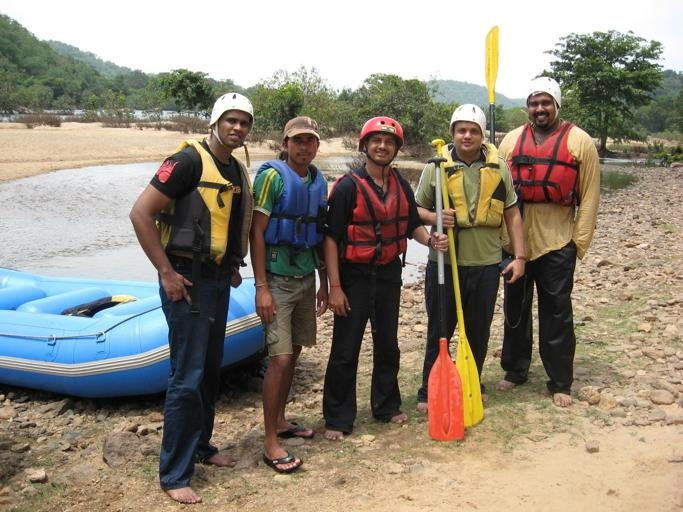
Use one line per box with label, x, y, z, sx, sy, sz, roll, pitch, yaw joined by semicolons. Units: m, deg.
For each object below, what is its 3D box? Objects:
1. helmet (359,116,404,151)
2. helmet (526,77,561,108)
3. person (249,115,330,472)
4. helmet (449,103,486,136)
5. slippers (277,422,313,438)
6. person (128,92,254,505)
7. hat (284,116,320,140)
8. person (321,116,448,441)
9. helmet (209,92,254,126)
helmet;0.329;-1.049;4.926;0.299;0.210;0.332;3;5;-1
helmet;1.852;-1.516;5.349;0.304;0.289;0.575;5;12;18
person;-0.441;0.256;4.734;0.581;2.724;0.963;3;12;8
helmet;1.104;-1.191;5.131;0.247;0.261;0.334;5;9;8
slippers;-0.394;1.486;5.026;0.272;0.085;0.123;0;1;-4
person;-1.098;0.260;4.416;0.517;2.943;0.936;7;13;27
hat;-0.322;-1.033;4.715;0.298;0.186;0.256;0;12;-5
person;0.275;0.193;5.015;0.938;2.704;0.414;-4;13;-22
helmet;-0.863;-1.136;4.450;0.260;0.245;0.322;8;-32;-31
